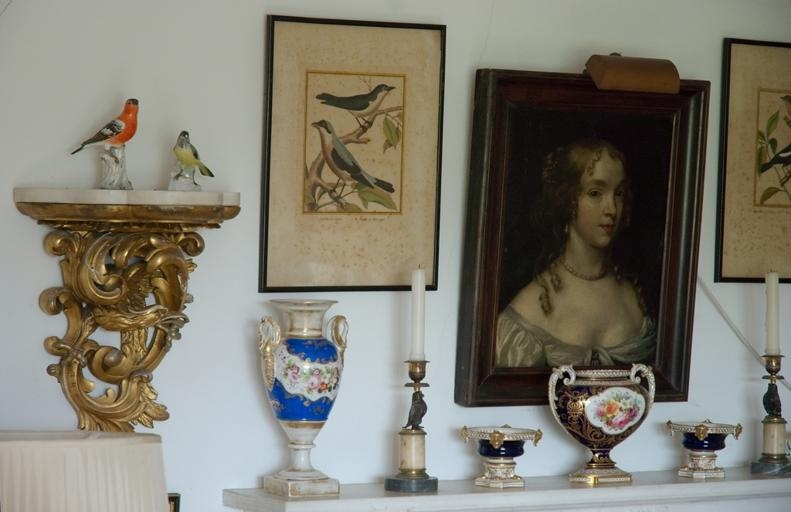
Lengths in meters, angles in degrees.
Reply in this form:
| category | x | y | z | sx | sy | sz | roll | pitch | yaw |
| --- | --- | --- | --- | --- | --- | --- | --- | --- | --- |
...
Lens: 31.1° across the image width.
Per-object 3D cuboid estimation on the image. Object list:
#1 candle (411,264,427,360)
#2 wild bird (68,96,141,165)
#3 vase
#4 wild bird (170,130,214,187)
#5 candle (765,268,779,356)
| category | x | y | z | sx | sy | sz | roll | pitch | yaw |
| --- | --- | --- | --- | --- | --- | --- | --- | --- | --- |
| candle | 0.082 | 0.197 | 4.669 | 0.043 | 0.303 | 0.083 | -1 | -6 | 29 |
| wild bird | -0.919 | -0.416 | 4.510 | 0.227 | 0.156 | 0.082 | -6 | 7 | 6 |
| vase | -0.306 | 0.431 | 4.566 | 0.283 | 0.581 | 0.108 | 2 | -5 | -5 |
| wild bird | -0.646 | -0.313 | 4.566 | 0.131 | 0.195 | 0.144 | 2 | -5 | -7 |
| candle | 1.312 | 0.203 | 4.953 | 0.044 | 0.291 | 0.072 | 1 | -5 | 14 |
